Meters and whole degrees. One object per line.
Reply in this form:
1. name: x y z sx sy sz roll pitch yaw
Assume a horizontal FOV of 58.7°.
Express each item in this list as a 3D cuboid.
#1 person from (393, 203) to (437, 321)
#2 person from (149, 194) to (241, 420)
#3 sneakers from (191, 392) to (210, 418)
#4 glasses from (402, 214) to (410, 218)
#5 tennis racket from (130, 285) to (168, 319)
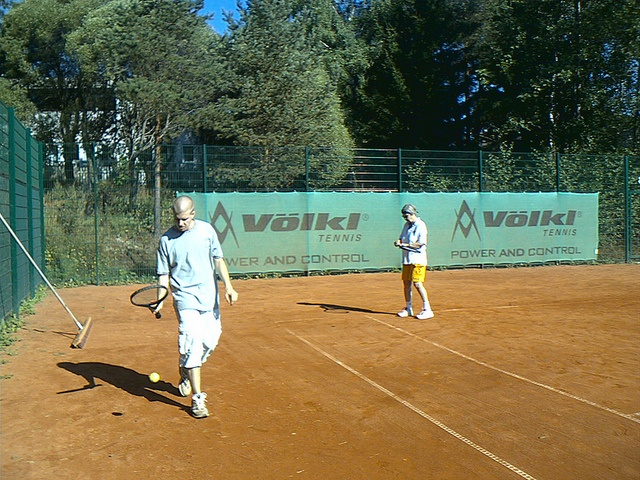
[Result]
1. person: 1.890 0.402 11.207 0.710 2.243 1.344 1 11 10
2. person: -1.448 0.767 6.899 0.780 2.616 0.806 -8 14 -32
3. sneakers: -1.425 1.963 6.800 0.191 0.286 0.164 -3 11 -9
4. glasses: 1.662 -0.497 10.933 0.082 0.049 0.083 -4 -7 44
5. tennis racket: -2.085 0.695 7.043 0.434 0.510 0.147 -1 49 13
